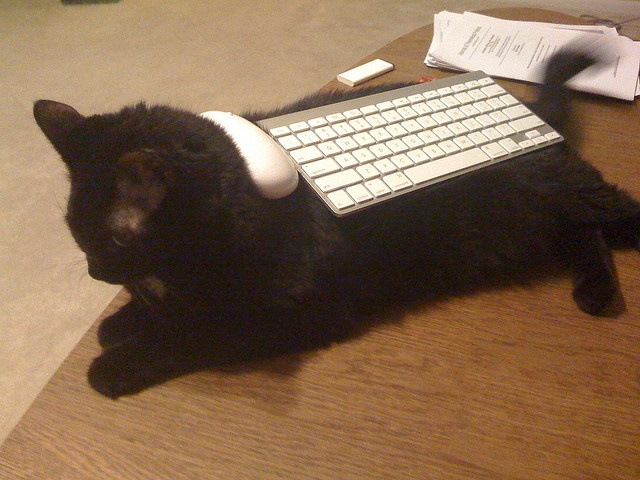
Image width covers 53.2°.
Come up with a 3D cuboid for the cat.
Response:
[{"bbox_3d":[0.052,-0.046,0.779,0.972,0.277,0.271,-13,5,-14],"label":"cat"}]
